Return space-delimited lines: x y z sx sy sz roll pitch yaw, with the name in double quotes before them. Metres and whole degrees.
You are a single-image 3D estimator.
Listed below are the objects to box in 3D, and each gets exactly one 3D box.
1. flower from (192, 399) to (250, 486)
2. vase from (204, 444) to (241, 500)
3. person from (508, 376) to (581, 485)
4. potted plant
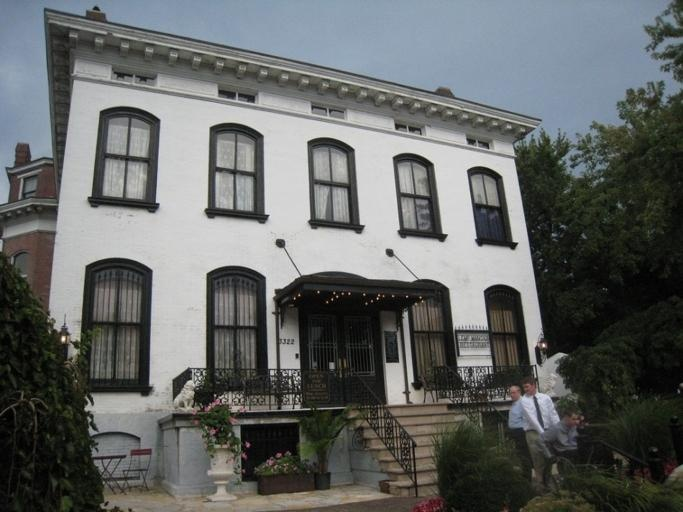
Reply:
"flower" -2.839 4.382 13.134 1.146 1.879 1.084 -39 -44 23
"vase" -2.688 4.896 12.798 0.637 1.185 1.257 -2 -18 -11
"person" 3.998 3.282 10.854 0.966 1.971 1.127 -10 -18 15
"potted plant" -0.520 4.763 13.934 2.010 2.039 1.756 5 -26 -25
